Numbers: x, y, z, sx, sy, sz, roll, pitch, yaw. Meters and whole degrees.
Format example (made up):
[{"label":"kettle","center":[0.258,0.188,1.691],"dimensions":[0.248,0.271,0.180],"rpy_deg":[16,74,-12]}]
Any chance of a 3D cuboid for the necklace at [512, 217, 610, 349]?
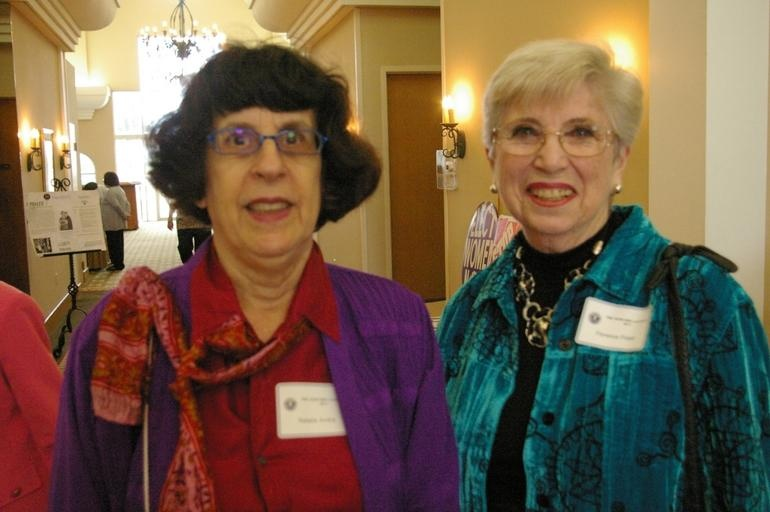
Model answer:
[{"label":"necklace","center":[0.663,0.106,2.531],"dimensions":[0.356,0.488,0.106],"rpy_deg":[10,-5,39]}]
